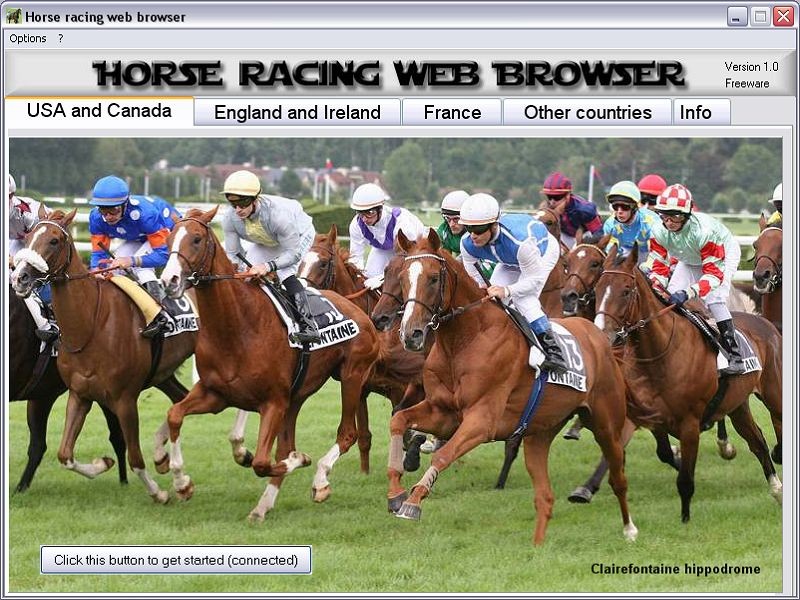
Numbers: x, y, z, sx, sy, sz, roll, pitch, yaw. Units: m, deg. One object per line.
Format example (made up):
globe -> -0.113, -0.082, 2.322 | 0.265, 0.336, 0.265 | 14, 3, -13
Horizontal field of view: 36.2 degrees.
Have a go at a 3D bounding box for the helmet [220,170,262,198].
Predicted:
helmet -> -1.284, -0.954, 10.030 | 0.289, 0.220, 0.415 | 0, 9, -6

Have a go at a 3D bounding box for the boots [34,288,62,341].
boots -> -3.040, 0.110, 10.744 | 0.174, 0.437, 0.308 | -5, -13, -26

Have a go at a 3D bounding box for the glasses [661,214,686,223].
glasses -> 2.347, -0.711, 10.555 | 0.170, 0.075, 0.122 | 3, 9, 9

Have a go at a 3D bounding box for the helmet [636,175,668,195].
helmet -> 2.742, -1.266, 13.302 | 0.263, 0.201, 0.333 | 10, 3, 35

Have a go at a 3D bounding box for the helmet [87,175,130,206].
helmet -> -2.538, -0.969, 10.807 | 0.323, 0.255, 0.325 | -2, 9, -18

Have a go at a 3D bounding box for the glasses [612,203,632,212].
glasses -> 2.178, -0.916, 11.989 | 0.185, 0.078, 0.126 | 4, 9, 15

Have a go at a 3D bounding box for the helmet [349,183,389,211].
helmet -> -0.296, -1.028, 12.155 | 0.237, 0.168, 0.322 | -2, 3, 20

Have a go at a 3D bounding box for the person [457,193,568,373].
person -> 0.957, -0.201, 9.902 | 0.716, 1.480, 0.911 | 11, 27, 40

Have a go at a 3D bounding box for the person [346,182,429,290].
person -> -0.149, -0.735, 13.038 | 0.663, 1.027, 2.230 | -1, 3, 9

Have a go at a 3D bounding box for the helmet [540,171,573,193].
helmet -> 1.714, -1.277, 13.316 | 0.302, 0.238, 0.474 | 2, 9, 8

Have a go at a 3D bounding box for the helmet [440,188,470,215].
helmet -> 0.516, -0.939, 11.562 | 0.182, 0.204, 0.256 | 7, 21, 42

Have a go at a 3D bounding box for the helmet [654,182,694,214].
helmet -> 2.372, -0.879, 10.542 | 0.219, 0.191, 0.299 | 6, 7, 40

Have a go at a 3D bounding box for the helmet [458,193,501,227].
helmet -> 0.631, -0.708, 9.553 | 0.286, 0.248, 0.312 | 2, 9, 7

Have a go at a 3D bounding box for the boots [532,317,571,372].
boots -> 1.204, 0.404, 9.608 | 0.162, 0.529, 0.202 | -23, -18, 25
